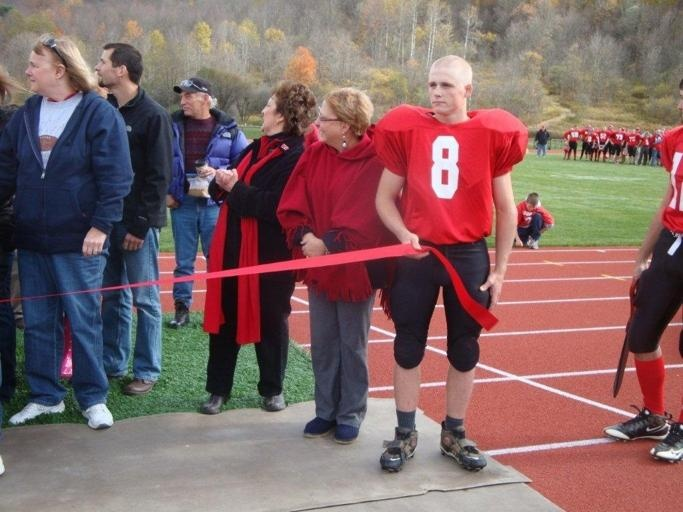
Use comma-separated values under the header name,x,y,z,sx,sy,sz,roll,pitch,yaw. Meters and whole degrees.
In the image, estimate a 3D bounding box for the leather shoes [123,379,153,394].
name,x,y,z,sx,sy,sz,roll,pitch,yaw
leather shoes,-1.583,1.022,5.108,0.095,0.082,0.210,19,-1,19

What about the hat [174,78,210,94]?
name,x,y,z,sx,sy,sz,roll,pitch,yaw
hat,-1.443,-1.697,6.459,0.203,0.107,0.280,7,8,44

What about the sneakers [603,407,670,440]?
name,x,y,z,sx,sy,sz,roll,pitch,yaw
sneakers,2.213,1.265,4.974,0.607,0.281,0.198,1,0,1

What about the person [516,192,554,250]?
name,x,y,z,sx,sy,sz,roll,pitch,yaw
person,3.877,-0.750,13.338,0.863,0.965,0.786,4,17,22

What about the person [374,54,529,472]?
name,x,y,z,sx,sy,sz,roll,pitch,yaw
person,0.638,0.073,4.039,0.937,2.567,0.645,2,13,2

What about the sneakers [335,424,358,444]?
name,x,y,z,sx,sy,sz,roll,pitch,yaw
sneakers,0.041,1.181,4.365,0.157,0.105,0.124,2,12,1

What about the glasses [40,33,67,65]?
name,x,y,z,sx,sy,sz,roll,pitch,yaw
glasses,-1.913,-1.404,4.397,0.184,0.100,0.137,38,27,9

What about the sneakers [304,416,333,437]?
name,x,y,z,sx,sy,sz,roll,pitch,yaw
sneakers,-0.140,1.171,4.475,0.211,0.085,0.091,5,-5,-36

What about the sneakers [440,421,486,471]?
name,x,y,z,sx,sy,sz,roll,pitch,yaw
sneakers,0.769,1.199,4.143,0.153,0.204,0.429,4,5,-28

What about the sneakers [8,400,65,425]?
name,x,y,z,sx,sy,sz,roll,pitch,yaw
sneakers,-2.114,1.075,4.560,0.352,0.134,0.126,-1,1,-35

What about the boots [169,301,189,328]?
name,x,y,z,sx,sy,sz,roll,pitch,yaw
boots,-1.650,0.615,6.734,0.132,0.219,0.331,-6,-16,12

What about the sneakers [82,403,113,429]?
name,x,y,z,sx,sy,sz,roll,pitch,yaw
sneakers,-1.655,1.095,4.475,0.119,0.091,0.239,-2,2,-33

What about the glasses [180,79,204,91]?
name,x,y,z,sx,sy,sz,roll,pitch,yaw
glasses,-1.447,-1.678,6.395,0.122,0.053,0.182,15,9,31

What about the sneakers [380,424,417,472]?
name,x,y,z,sx,sy,sz,roll,pitch,yaw
sneakers,0.345,1.201,4.033,0.129,0.155,0.350,-4,-9,23
